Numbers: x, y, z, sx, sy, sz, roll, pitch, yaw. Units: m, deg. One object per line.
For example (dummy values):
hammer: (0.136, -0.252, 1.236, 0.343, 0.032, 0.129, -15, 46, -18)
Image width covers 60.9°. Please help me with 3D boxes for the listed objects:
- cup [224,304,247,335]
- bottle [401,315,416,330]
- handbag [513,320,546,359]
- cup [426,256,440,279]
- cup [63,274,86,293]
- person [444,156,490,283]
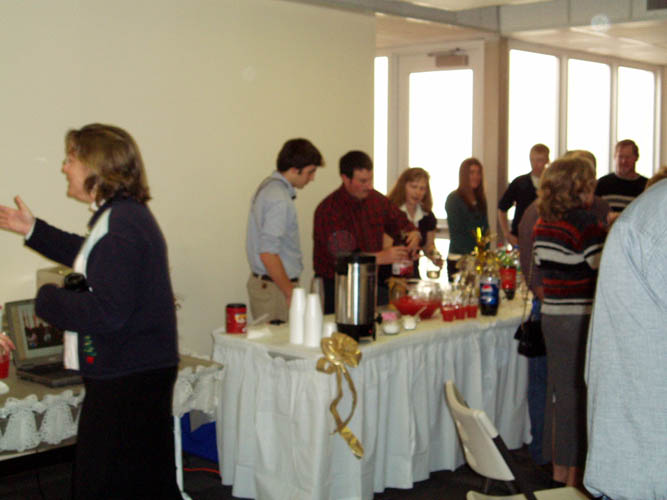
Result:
cup: (-0.493, 0.350, 2.915, 0.123, 0.150, 0.129, 0, -4, 0)
bottle: (0.385, 0.376, 2.955, 0.064, 0.068, 0.066, -1, -26, -15)
handbag: (1.071, 0.516, 3.193, 0.133, 0.197, 0.197, 7, -14, 19)
cup: (0.623, 0.109, 3.434, 0.107, 0.195, 0.125, 0, -2, 13)
cup: (-0.808, 0.100, 1.776, 0.057, 0.058, 0.059, 2, 1, 0)
person: (1.229, -0.408, 5.216, 0.384, 0.859, 0.345, -3, 4, 11)
